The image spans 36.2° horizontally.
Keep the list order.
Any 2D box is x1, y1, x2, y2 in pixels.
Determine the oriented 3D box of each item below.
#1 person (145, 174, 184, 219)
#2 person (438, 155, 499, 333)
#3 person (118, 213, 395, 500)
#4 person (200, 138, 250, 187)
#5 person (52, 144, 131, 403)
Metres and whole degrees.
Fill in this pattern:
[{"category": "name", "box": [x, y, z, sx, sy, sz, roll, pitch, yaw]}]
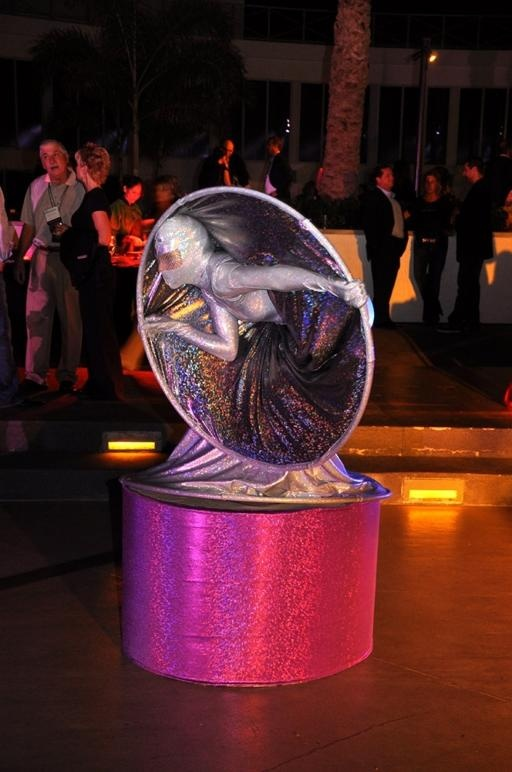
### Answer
[{"category": "person", "box": [-0.724, -1.513, 6.331, 0.217, 0.304, 0.752, -1, 7, -9]}, {"category": "person", "box": [2.206, -1.423, 8.068, 0.416, 1.684, 0.715, 3, 9, 15]}, {"category": "person", "box": [-0.018, -0.066, 2.171, 0.771, 0.797, 0.582, 1, 8, 9]}, {"category": "person", "box": [-0.365, -2.596, 9.106, 0.511, 0.599, 0.896, 1, 8, 8]}, {"category": "person", "box": [-1.036, -0.691, 4.945, 0.362, 1.586, 0.335, -2, 9, -14]}]
